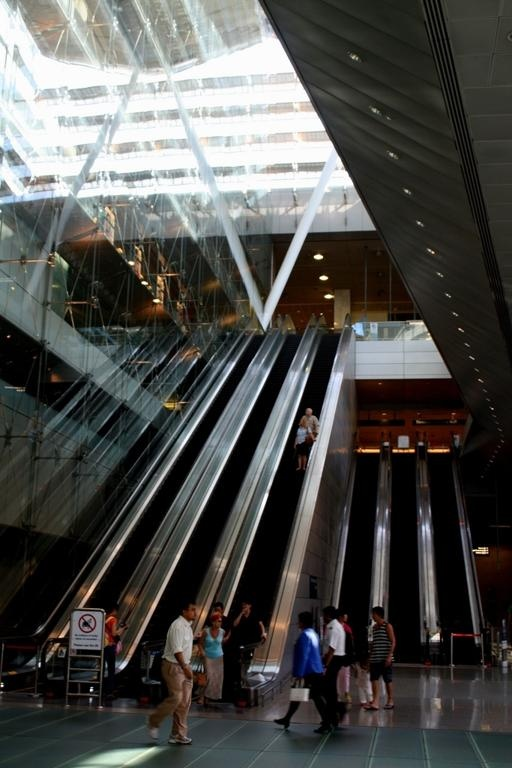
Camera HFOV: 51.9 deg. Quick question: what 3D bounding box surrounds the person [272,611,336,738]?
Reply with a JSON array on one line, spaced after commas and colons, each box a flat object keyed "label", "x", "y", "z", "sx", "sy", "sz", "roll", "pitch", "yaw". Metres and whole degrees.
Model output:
[{"label": "person", "x": 0.404, "y": 2.462, "z": 4.510, "sx": 0.464, "sy": 0.928, "sz": 0.830, "roll": 3, "pitch": -22, "yaw": 4}]

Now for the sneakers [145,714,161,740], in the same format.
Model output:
[{"label": "sneakers", "x": -0.732, "y": 2.407, "z": 3.773, "sx": 0.091, "sy": 0.228, "sz": 0.074, "roll": -18, "pitch": -22, "yaw": 28}]

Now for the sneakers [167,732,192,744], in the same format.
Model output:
[{"label": "sneakers", "x": -0.537, "y": 2.489, "z": 3.682, "sx": 0.151, "sy": 0.073, "sz": 0.062, "roll": -2, "pitch": -11, "yaw": 10}]

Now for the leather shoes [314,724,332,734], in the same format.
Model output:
[{"label": "leather shoes", "x": 0.552, "y": 2.854, "z": 4.357, "sx": 0.142, "sy": 0.054, "sz": 0.249, "roll": 1, "pitch": -22, "yaw": 8}]

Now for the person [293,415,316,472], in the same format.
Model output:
[{"label": "person", "x": 1.204, "y": 1.401, "z": 12.827, "sx": 0.554, "sy": 1.526, "sz": 0.692, "roll": 3, "pitch": -22, "yaw": 4}]

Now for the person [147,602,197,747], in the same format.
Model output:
[{"label": "person", "x": -0.614, "y": 2.241, "z": 4.117, "sx": 0.310, "sy": 0.957, "sz": 0.886, "roll": 6, "pitch": -22, "yaw": -3}]

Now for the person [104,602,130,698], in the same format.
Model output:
[{"label": "person", "x": -1.665, "y": 3.039, "z": 5.969, "sx": 0.207, "sy": 0.940, "sz": 0.558, "roll": 9, "pitch": -22, "yaw": -10}]
